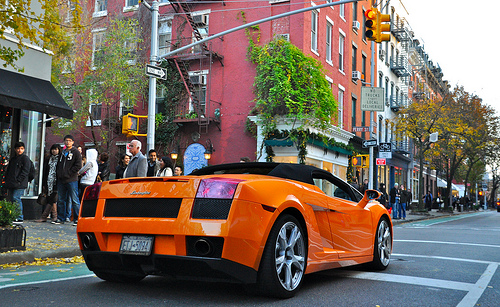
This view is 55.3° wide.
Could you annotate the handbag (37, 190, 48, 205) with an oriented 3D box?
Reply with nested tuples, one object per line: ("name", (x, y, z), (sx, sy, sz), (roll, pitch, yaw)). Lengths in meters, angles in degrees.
("handbag", (-7.368, 1.577, 16.837), (0.238, 0.534, 0.485), (-1, 7, -39))

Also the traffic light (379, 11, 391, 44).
("traffic light", (4.845, -4.663, 17.338), (0.453, 1.087, 0.959), (5, 5, 14))

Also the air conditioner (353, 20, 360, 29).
("air conditioner", (7.578, -9.338, 34.330), (0.453, 0.613, 0.864), (-2, -3, 28))

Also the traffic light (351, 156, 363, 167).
("traffic light", (6.202, 0.469, 27.888), (0.657, 0.675, 0.157), (-1, -4, -35))

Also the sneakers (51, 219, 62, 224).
("sneakers", (-6.689, 2.366, 16.463), (0.368, 0.164, 0.151), (-6, -4, 29))

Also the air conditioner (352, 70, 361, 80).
("air conditioner", (7.539, -5.616, 34.099), (0.382, 0.608, 0.878), (7, 6, 37))

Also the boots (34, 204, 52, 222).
("boots", (-7.269, 2.085, 16.737), (0.546, 0.640, 0.455), (1, 6, -25))

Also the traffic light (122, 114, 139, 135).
("traffic light", (-4.562, -1.120, 18.030), (0.480, 0.832, 0.631), (4, 5, 10))

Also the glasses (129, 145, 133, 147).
("glasses", (-3.512, -0.232, 13.980), (0.110, 0.038, 0.116), (2, -10, 44))

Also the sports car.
("sports car", (-0.107, 1.373, 9.394), (5.958, 2.414, 2.201), (1, 6, -28))

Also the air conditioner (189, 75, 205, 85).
("air conditioner", (-3.280, -4.605, 29.523), (1.054, 0.590, 0.694), (3, 1, 16))

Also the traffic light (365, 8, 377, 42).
("traffic light", (4.369, -4.770, 17.269), (0.457, 1.197, 0.702), (5, 5, 12))

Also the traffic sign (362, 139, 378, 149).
("traffic sign", (6.304, -0.559, 25.369), (0.667, 0.503, 1.352), (5, 5, 13))

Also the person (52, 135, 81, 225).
("person", (-6.210, 0.904, 16.254), (1.068, 3.074, 0.569), (5, 6, 19))

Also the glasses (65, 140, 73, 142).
("glasses", (-6.158, -0.462, 16.134), (0.247, 0.083, 0.217), (1, 5, -29))
